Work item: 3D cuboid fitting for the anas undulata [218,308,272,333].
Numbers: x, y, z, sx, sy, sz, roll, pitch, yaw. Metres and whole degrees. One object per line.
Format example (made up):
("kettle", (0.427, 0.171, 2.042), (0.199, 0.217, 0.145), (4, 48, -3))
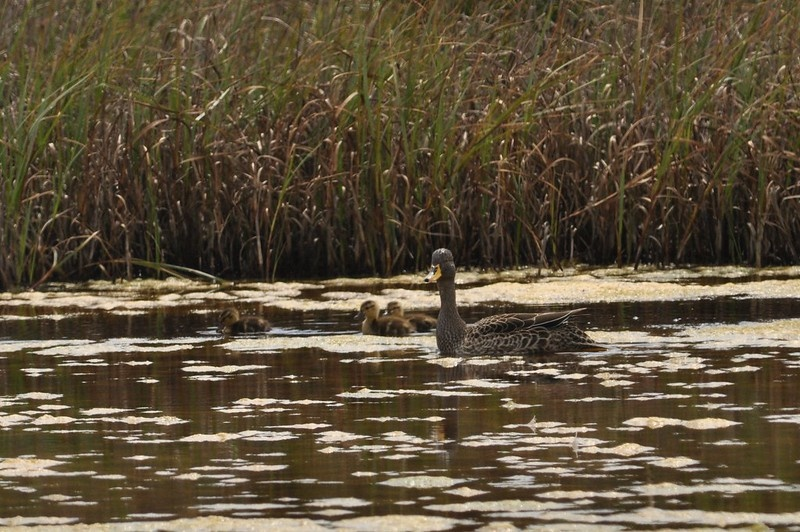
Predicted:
("anas undulata", (-1.478, 0.497, 11.512), (0.541, 0.262, 0.201), (1, 1, 19))

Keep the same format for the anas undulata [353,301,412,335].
("anas undulata", (-0.120, 0.475, 11.563), (0.518, 0.308, 0.486), (-2, 9, -3))
